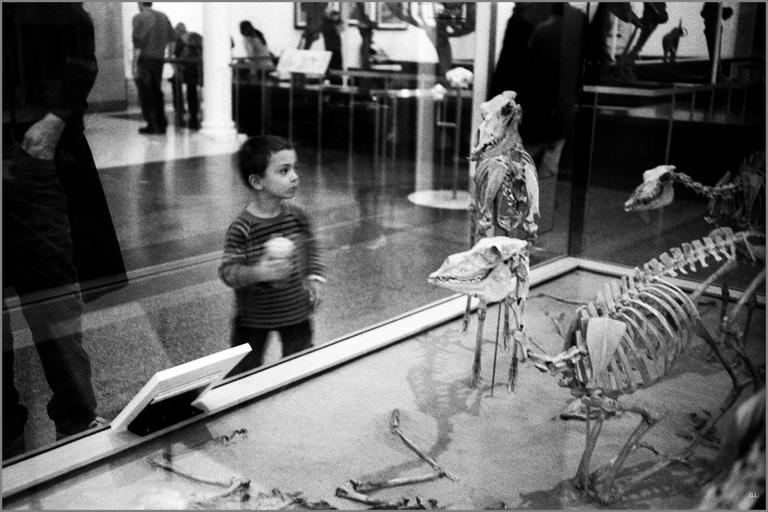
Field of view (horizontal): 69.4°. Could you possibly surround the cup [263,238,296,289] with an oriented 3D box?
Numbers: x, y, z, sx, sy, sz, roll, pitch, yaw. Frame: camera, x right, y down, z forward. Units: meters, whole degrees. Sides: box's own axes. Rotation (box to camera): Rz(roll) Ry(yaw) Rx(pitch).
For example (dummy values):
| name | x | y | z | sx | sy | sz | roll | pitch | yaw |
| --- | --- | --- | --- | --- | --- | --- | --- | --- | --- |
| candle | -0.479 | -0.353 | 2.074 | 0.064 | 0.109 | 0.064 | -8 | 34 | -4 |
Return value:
| name | x | y | z | sx | sy | sz | roll | pitch | yaw |
| --- | --- | --- | --- | --- | --- | --- | --- | --- | --- |
| cup | -0.643 | 0.042 | 3.349 | 0.181 | 0.281 | 0.115 | 0 | -1 | 4 |
